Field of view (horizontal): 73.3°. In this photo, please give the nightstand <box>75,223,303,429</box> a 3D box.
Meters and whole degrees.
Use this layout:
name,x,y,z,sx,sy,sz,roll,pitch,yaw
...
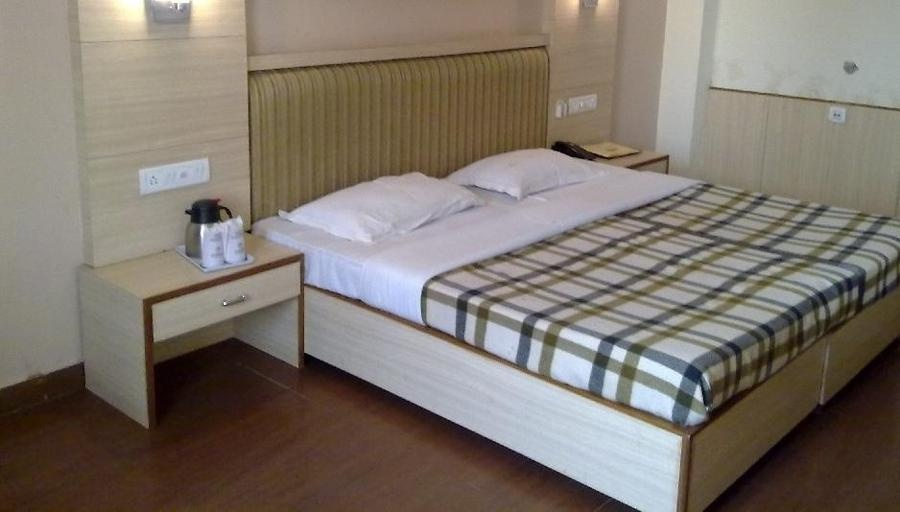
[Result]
name,x,y,z,sx,sy,sz,roll,pitch,yaw
nightstand,-1.498,0.393,3.519,1.149,0.772,0.646,-17,30,-34

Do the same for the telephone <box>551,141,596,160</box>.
name,x,y,z,sx,sy,sz,roll,pitch,yaw
telephone,1.039,-0.866,5.057,0.287,0.094,0.216,25,29,39

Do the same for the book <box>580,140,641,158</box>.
name,x,y,z,sx,sy,sz,roll,pitch,yaw
book,1.344,-0.925,5.269,0.311,0.036,0.279,-16,30,-31

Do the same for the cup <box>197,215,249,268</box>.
name,x,y,z,sx,sy,sz,roll,pitch,yaw
cup,-1.267,-0.069,3.351,0.260,0.232,0.140,-16,24,-40
